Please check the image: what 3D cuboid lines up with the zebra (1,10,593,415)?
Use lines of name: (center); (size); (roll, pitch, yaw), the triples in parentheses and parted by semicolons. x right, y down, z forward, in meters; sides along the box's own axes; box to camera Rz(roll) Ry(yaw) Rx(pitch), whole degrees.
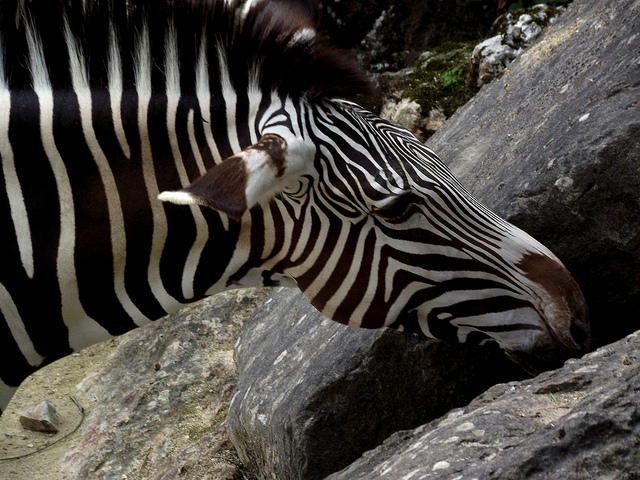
zebra: (-0.088, -0.437, 8.433); (3.336, 1.864, 2.459); (-10, 30, 11)
